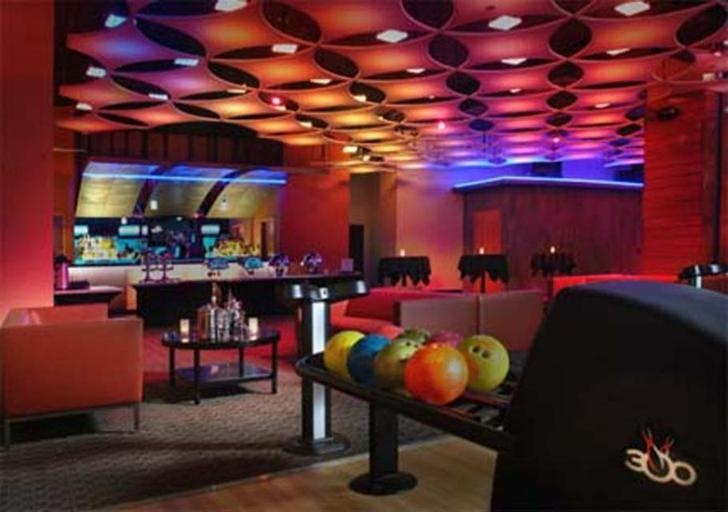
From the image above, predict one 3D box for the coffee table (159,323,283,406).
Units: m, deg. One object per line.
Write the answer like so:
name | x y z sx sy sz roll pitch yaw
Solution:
coffee table | -1.189 1.049 5.508 1.078 0.449 0.997 -7 -9 18
